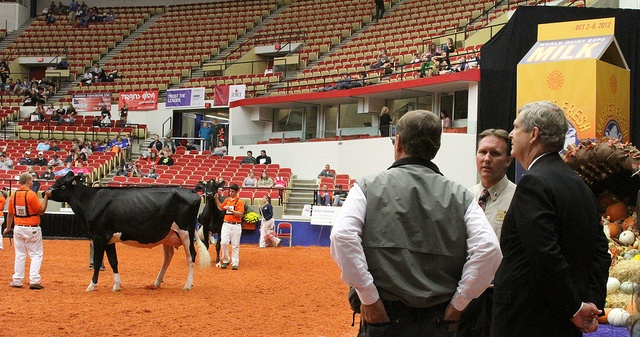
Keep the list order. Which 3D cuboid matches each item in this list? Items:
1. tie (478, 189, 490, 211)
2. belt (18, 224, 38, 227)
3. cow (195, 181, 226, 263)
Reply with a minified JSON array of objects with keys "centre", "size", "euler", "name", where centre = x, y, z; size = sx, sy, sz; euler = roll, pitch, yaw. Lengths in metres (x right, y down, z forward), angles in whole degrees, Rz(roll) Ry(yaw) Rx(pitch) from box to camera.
[{"centre":[5.910,1.093,30.372],"size":[0.259,0.878,0.260],"euler":[16,-2,28],"name":"tie"},{"centre":[-11.733,2.329,34.437],"size":[0.619,0.105,0.147],"euler":[2,-2,-23],"name":"belt"},{"centre":[-4.789,2.273,37.190],"size":[1.355,3.328,1.256],"euler":[0,-1,-2],"name":"cow"}]
